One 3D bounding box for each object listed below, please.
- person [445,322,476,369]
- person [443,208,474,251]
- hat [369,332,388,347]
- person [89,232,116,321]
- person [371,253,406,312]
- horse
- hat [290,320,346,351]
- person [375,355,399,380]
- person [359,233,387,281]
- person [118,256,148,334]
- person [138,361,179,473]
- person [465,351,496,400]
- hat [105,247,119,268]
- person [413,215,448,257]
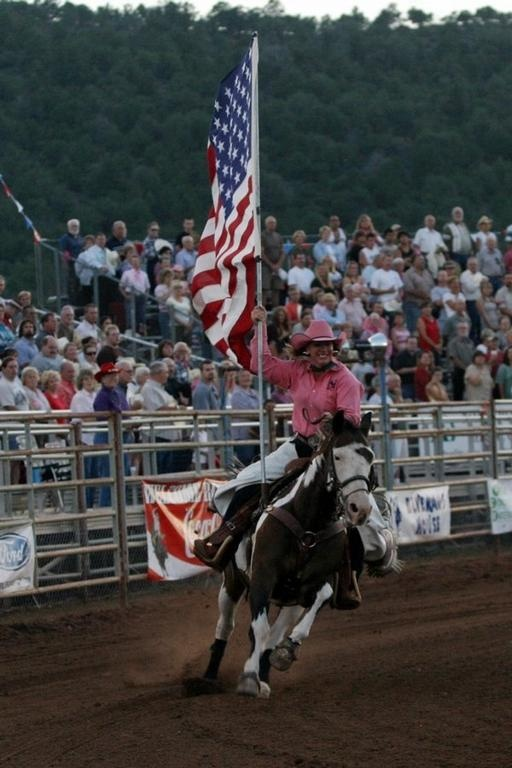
[{"bbox_3d":[3.216,-0.576,17.312,0.522,0.765,0.518,-1,-3,45],"label":"person"},{"bbox_3d":[3.863,-2.939,21.437,0.524,1.042,0.895,-2,-3,9],"label":"person"},{"bbox_3d":[1.355,-0.497,12.559,0.209,0.206,0.217,-2,-4,13],"label":"hat"},{"bbox_3d":[-2.398,-1.694,17.319,0.435,1.364,0.560,-1,-3,-8],"label":"person"},{"bbox_3d":[2.198,-1.709,19.008,0.559,1.114,0.830,-1,-3,7],"label":"person"},{"bbox_3d":[0.182,1.219,7.295,0.644,1.707,2.578,16,-20,-10],"label":"horse"},{"bbox_3d":[0.363,-0.341,7.302,0.225,0.106,0.258,4,-20,-7],"label":"hat"},{"bbox_3d":[1.914,-0.187,16.337,0.251,0.453,0.858,-3,-9,11],"label":"person"},{"bbox_3d":[2.098,-2.369,19.786,0.413,1.036,0.395,13,-24,-30],"label":"person"},{"bbox_3d":[-1.858,-1.310,17.334,0.513,1.347,0.373,-2,21,-7],"label":"person"},{"bbox_3d":[-1.028,0.478,12.692,0.483,1.433,0.468,6,14,24],"label":"person"},{"bbox_3d":[3.364,-0.133,17.017,0.430,0.737,0.659,-2,-3,18],"label":"person"},{"bbox_3d":[-2.243,-1.972,17.568,0.262,0.263,0.304,0,-19,-6],"label":"hat"},{"bbox_3d":[3.227,-2.768,20.771,0.536,0.858,0.857,-2,-3,20],"label":"person"}]
